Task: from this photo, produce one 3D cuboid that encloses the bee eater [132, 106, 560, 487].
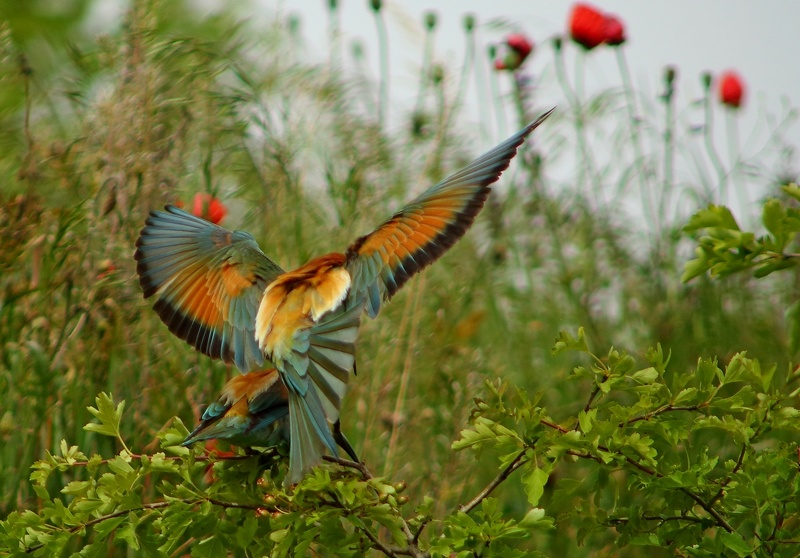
[{"bbox_3d":[-0.234,0.082,4.211,1.300,0.908,0.988,-8,-4,7],"label":"bee eater"}]
